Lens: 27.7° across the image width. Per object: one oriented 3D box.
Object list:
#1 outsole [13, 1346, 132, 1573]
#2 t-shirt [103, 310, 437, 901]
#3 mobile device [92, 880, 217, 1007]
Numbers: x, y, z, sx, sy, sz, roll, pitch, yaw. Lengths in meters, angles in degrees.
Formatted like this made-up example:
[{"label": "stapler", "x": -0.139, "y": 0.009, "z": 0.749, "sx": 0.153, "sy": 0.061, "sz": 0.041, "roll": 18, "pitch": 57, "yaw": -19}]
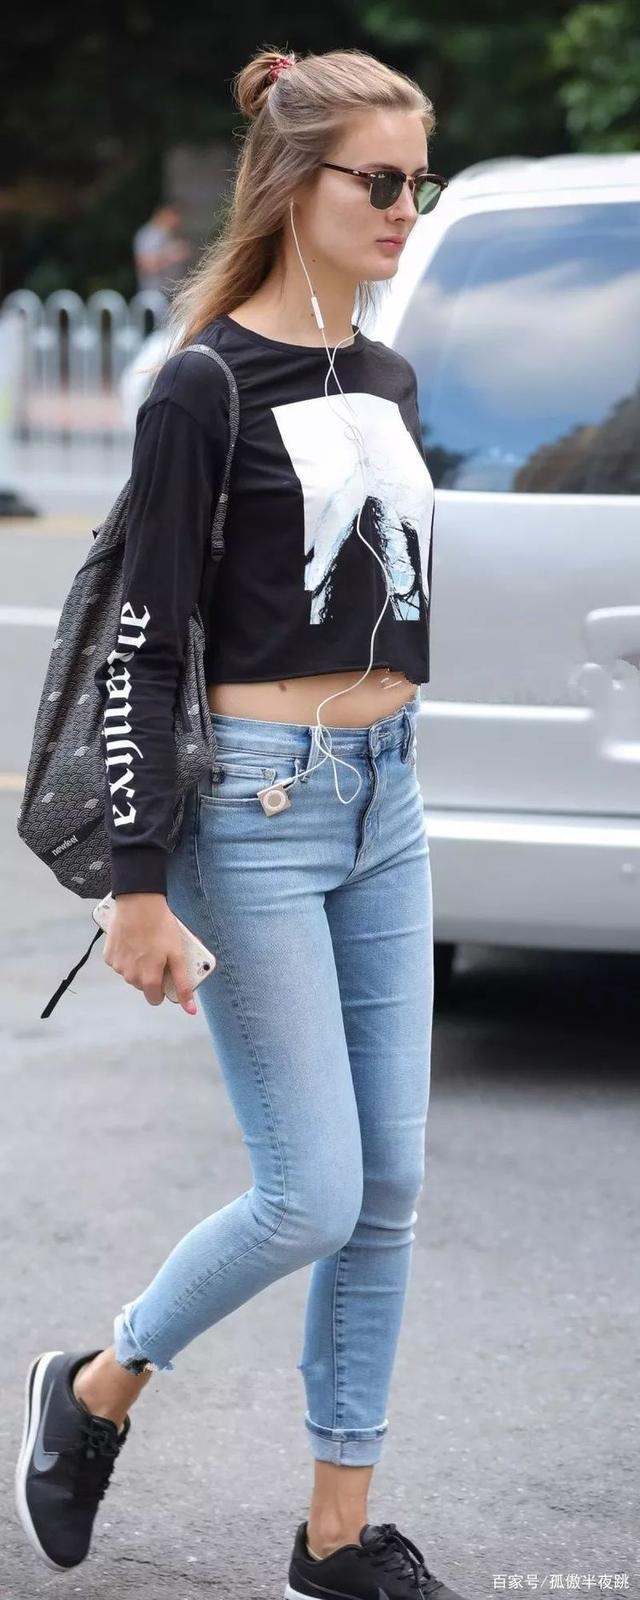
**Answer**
[{"label": "outsole", "x": -0.295, "y": 0.814, "z": 1.602, "sx": 0.123, "sy": 0.337, "sz": 0.101, "roll": -15, "pitch": -20, "yaw": 37}, {"label": "t-shirt", "x": -0.030, "y": -0.222, "z": 1.401, "sx": 0.176, "sy": 0.588, "sz": 0.484, "roll": 7, "pitch": 11, "yaw": 39}, {"label": "mobile device", "x": -0.168, "y": 0.166, "z": 1.361, "sx": 0.126, "sy": 0.148, "sz": 0.165, "roll": -2, "pitch": 9, "yaw": -16}]
